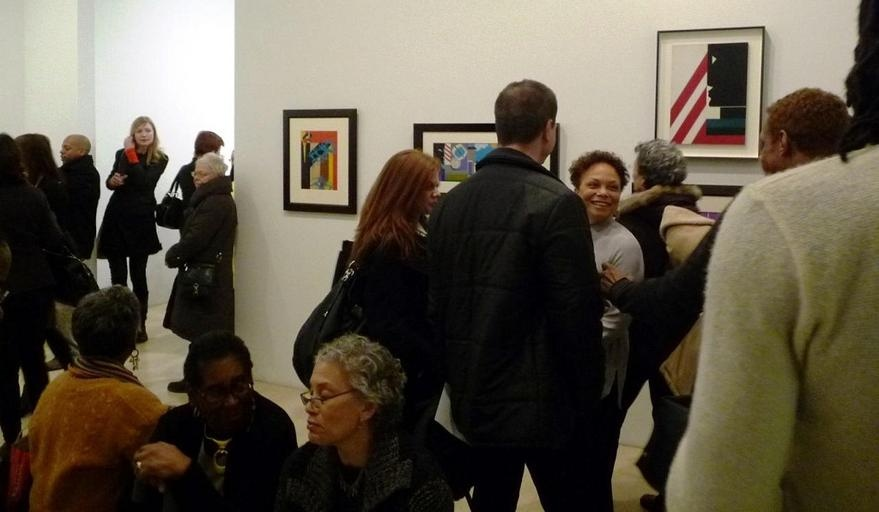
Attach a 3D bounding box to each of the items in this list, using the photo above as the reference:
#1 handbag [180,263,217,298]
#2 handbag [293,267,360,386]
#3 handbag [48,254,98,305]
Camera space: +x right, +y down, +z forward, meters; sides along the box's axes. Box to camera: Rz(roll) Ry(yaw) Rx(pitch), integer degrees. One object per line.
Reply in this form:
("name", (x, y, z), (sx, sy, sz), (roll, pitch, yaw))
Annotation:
("handbag", (-2.254, 0.224, 5.995), (0.310, 0.334, 0.144), (4, 2, 8))
("handbag", (-0.590, 0.364, 3.358), (0.306, 0.625, 0.290), (-3, 9, -29))
("handbag", (-2.817, 0.182, 4.872), (0.195, 0.352, 0.265), (-21, 3, 30))
